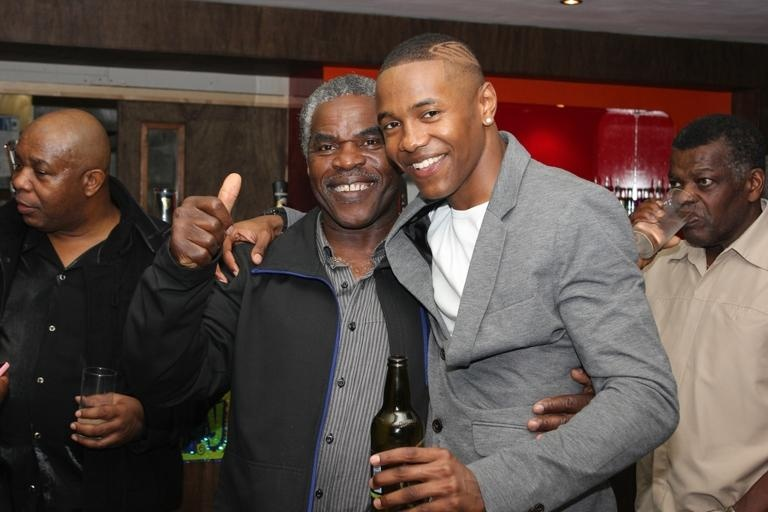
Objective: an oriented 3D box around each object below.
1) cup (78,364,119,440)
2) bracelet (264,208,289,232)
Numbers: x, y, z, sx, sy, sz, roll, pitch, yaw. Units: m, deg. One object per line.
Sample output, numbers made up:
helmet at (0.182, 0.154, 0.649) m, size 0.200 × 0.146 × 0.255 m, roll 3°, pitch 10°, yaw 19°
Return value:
cup at (-1.175, 0.542, 2.791) m, size 0.131 × 0.161 × 0.077 m, roll 3°, pitch 14°, yaw 3°
bracelet at (-0.439, -0.153, 2.798) m, size 0.094 × 0.044 × 0.117 m, roll 3°, pitch 17°, yaw -3°
